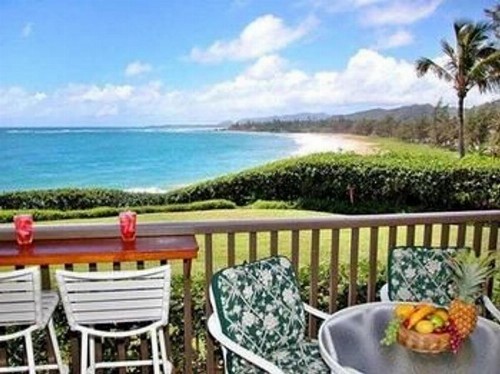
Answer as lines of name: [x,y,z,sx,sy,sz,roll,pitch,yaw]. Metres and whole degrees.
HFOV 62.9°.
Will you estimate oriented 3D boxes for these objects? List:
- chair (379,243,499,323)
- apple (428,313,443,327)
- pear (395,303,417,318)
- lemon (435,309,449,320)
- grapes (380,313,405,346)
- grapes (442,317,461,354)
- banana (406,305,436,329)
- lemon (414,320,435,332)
chair: [1.257,0.606,2.967,0.560,0.649,0.753,-2,30,11]
apple: [0.982,0.702,2.146,0.054,0.035,0.067,31,17,27]
pear: [0.858,0.688,2.267,0.127,0.068,0.061,19,-29,-23]
lemon: [1.036,0.679,2.207,0.050,0.055,0.062,1,12,-9]
grapes: [0.795,0.786,2.223,0.075,0.091,0.255,9,18,36]
grapes: [1.058,0.770,2.169,0.060,0.078,0.196,-17,45,15]
banana: [0.930,0.663,2.178,0.054,0.044,0.178,-41,1,-43]
lemon: [0.910,0.727,2.128,0.070,0.060,0.056,-5,9,3]
